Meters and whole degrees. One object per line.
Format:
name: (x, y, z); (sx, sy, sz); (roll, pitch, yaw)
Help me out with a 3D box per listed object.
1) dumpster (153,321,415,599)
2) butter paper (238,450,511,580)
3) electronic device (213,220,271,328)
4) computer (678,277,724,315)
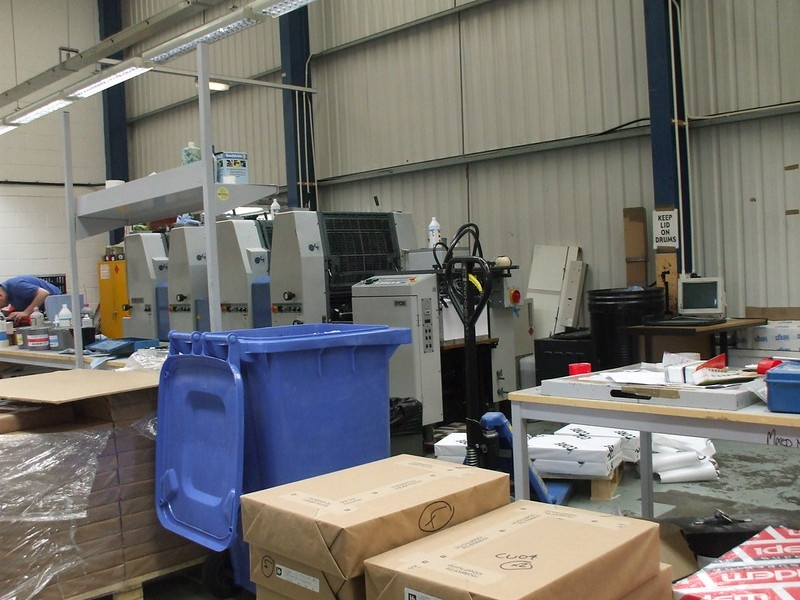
dumpster: (-0.516, 0.716, 3.495); (1.029, 1.228, 0.793); (-4, 3, -39)
butter paper: (-0.126, 0.703, 2.597); (0.375, 0.119, 0.553); (1, 5, 43)
electronic device: (-1.118, -0.171, 5.768); (0.426, 0.872, 0.483); (-3, 4, 19)
computer: (2.223, -0.021, 5.651); (0.319, 0.307, 0.340); (-1, 0, 11)
